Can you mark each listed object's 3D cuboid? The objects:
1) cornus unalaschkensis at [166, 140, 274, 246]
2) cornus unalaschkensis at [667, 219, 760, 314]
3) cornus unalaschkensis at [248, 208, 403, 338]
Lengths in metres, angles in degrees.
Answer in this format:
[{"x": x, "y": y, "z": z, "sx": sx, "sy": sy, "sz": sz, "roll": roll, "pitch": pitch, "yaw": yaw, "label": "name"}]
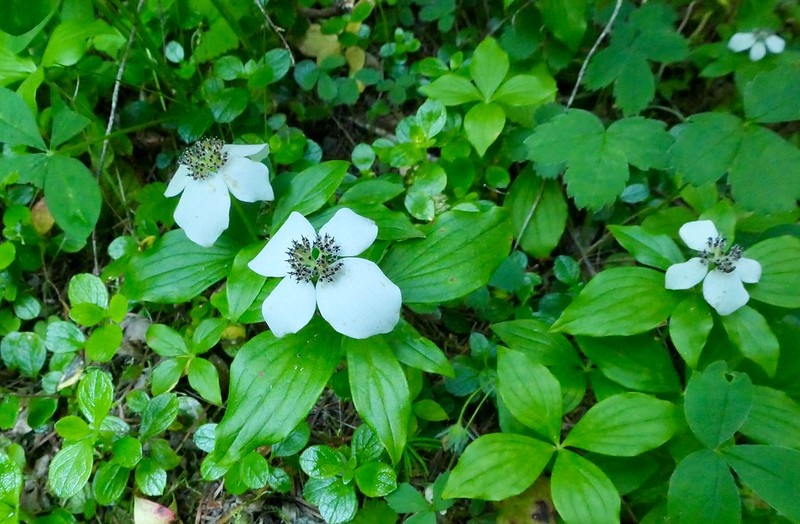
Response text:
[{"x": -1.061, "y": -0.408, "z": 4.204, "sx": 0.644, "sy": 0.382, "sz": 0.630, "roll": -12, "pitch": 78, "yaw": 10, "label": "cornus unalaschkensis"}, {"x": 1.766, "y": 0.017, "z": 3.858, "sx": 0.469, "sy": 0.158, "sz": 0.474, "roll": 25, "pitch": 68, "yaw": 10, "label": "cornus unalaschkensis"}, {"x": -0.501, "y": 0.034, "z": 3.936, "sx": 0.787, "sy": 0.276, "sz": 0.922, "roll": 1, "pitch": 36, "yaw": -22, "label": "cornus unalaschkensis"}]
